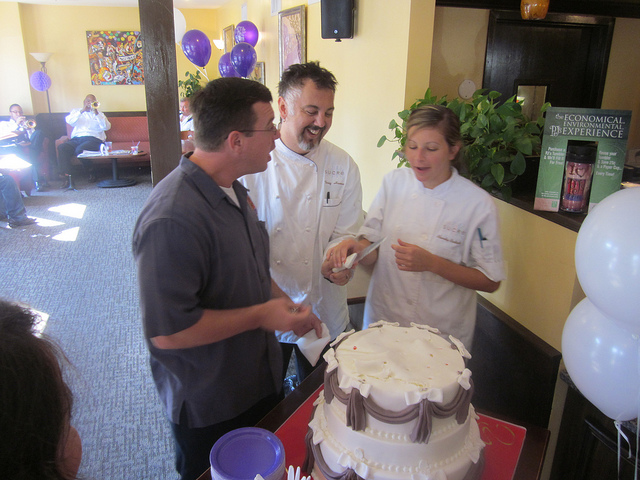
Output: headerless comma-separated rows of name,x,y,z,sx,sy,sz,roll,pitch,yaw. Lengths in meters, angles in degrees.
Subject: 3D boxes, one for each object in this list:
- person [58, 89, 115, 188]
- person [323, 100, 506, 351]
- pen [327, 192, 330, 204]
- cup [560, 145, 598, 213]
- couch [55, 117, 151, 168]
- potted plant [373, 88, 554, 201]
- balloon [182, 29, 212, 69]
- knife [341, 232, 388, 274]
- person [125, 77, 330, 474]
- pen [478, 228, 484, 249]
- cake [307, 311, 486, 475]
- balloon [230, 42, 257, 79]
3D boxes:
person,-4.754,-2.048,9.122,0.870,1.611,2.025,-3,20,-7
person,0.479,0.174,2.216,0.703,1.596,0.533,12,33,26
pen,0.045,-0.224,2.310,0.017,0.042,0.008,-16,24,-38
cup,1.079,-0.251,1.897,0.110,0.279,0.067,13,23,36
couch,-4.140,-2.107,9.792,1.824,1.063,1.013,1,23,20
potted plant,0.706,-0.489,2.328,0.675,0.357,0.681,-36,49,-15
balloon,-2.000,-3.105,7.370,0.349,0.539,0.407,5,20,17
knife,0.206,0.048,2.086,0.043,0.064,0.369,0,-28,-34
person,-0.279,0.206,1.754,0.641,1.566,0.810,16,25,41
pen,0.690,-0.014,1.941,0.008,0.080,0.030,-11,21,-27
cake,0.233,0.449,1.398,0.396,0.281,0.421,0,12,0
balloon,-1.130,-2.661,6.684,0.353,0.481,0.366,-4,19,-10
